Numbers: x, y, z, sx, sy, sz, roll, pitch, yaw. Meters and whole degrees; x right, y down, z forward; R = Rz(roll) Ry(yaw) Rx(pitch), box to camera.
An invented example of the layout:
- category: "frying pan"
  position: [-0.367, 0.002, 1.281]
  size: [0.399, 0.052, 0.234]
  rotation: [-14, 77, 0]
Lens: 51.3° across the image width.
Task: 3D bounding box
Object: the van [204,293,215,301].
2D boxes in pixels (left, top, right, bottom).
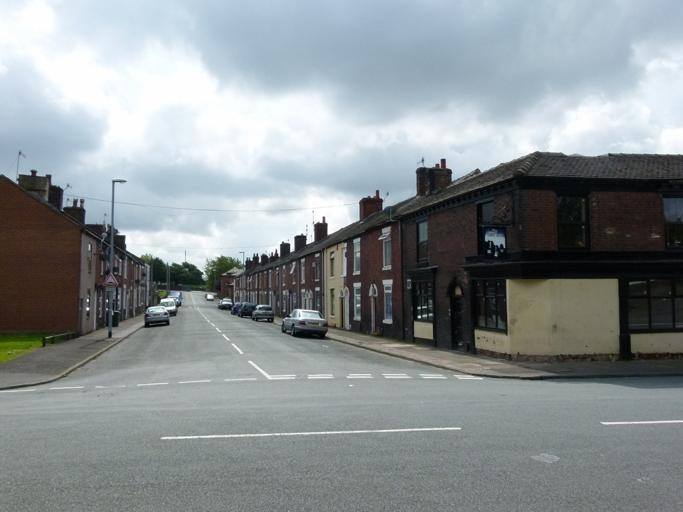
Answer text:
- category: "van"
  position: [-24.790, 7.535, 133.745]
  size: [1.659, 1.452, 4.199]
  rotation: [1, -6, -19]
